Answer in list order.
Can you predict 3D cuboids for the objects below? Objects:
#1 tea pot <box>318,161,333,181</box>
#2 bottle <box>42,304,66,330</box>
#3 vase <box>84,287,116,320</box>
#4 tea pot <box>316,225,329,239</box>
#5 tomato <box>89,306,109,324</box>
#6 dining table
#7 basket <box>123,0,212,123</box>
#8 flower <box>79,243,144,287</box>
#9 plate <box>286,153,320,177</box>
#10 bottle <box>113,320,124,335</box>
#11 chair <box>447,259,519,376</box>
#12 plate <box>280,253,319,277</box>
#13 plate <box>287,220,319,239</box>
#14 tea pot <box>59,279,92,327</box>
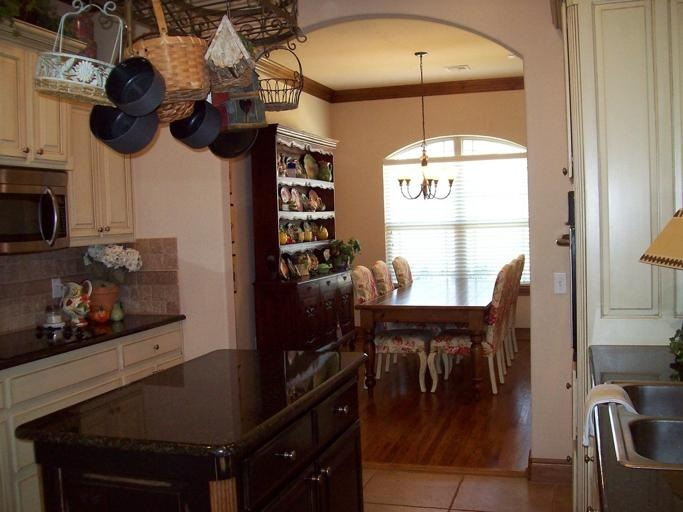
[{"bbox_3d":[-0.164,-1.035,6.733,0.170,0.266,0.251,10,15,40],"label":"tea pot"},{"bbox_3d":[-1.936,0.413,3.751,0.153,0.186,0.166,-2,5,-12],"label":"bottle"},{"bbox_3d":[-1.716,0.343,4.000,0.194,0.226,0.202,0,-5,-6],"label":"vase"},{"bbox_3d":[-0.221,-0.293,6.615,0.133,0.215,0.142,-8,7,1],"label":"tea pot"},{"bbox_3d":[-1.723,0.398,3.949,0.113,0.130,0.118,-7,14,-40],"label":"tomato"},{"bbox_3d":[1.010,0.782,6.029,1.226,0.842,2.055,-1,5,15],"label":"dining table"},{"bbox_3d":[-0.560,-0.665,1.882,0.223,0.380,0.194,-1,4,13],"label":"basket"},{"bbox_3d":[-1.696,0.043,4.130,0.324,0.363,0.350,-5,6,-30],"label":"flower"},{"bbox_3d":[-0.435,-1.038,6.345,0.345,0.294,0.347,-4,-12,-5],"label":"plate"},{"bbox_3d":[-1.515,0.482,3.748,0.070,0.085,0.044,2,30,-6],"label":"bottle"},{"bbox_3d":[1.492,0.688,5.728,0.593,0.995,1.186,1,2,20],"label":"chair"},{"bbox_3d":[-0.475,0.118,5.854,0.228,0.107,0.321,6,10,16],"label":"plate"},{"bbox_3d":[-0.444,-0.286,6.153,0.183,0.107,0.241,8,5,27],"label":"plate"},{"bbox_3d":[-1.884,0.326,3.935,0.214,0.282,0.438,-4,5,-25],"label":"tea pot"}]
